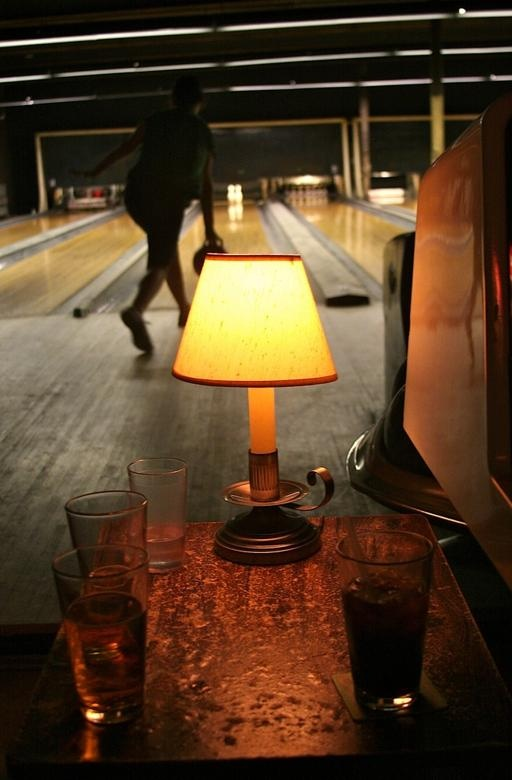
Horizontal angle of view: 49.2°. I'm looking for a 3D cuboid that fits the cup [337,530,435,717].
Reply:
[{"bbox_3d":[0.076,0.117,0.321,0.047,0.086,0.117,0,6,16],"label":"cup"}]
